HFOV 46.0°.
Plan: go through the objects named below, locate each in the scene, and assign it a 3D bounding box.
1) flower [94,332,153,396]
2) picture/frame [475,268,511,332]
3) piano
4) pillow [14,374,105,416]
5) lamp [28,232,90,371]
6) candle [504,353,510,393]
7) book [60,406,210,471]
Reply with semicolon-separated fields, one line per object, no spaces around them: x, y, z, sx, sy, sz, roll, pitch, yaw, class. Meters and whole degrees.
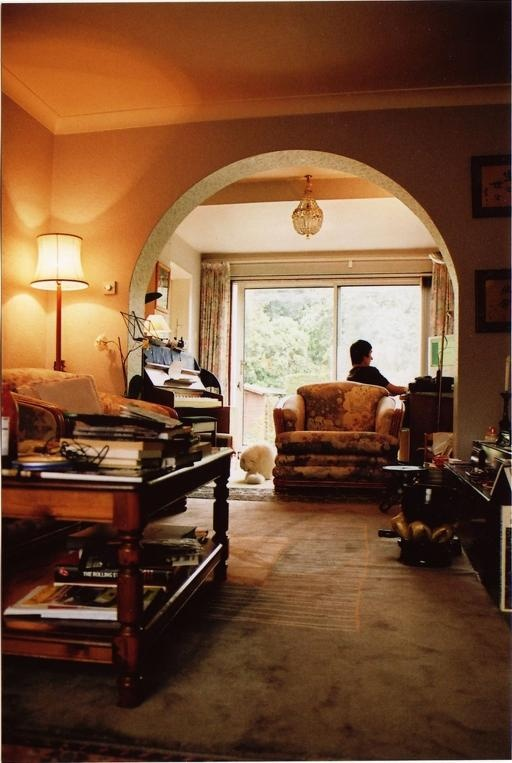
-0.835;-0.110;3.716;0.396;0.495;0.154;-1;-1;-7;flower
1.326;-0.456;3.388;0.176;0.365;0.053;0;-2;11;picture/frame
-0.430;0.067;3.457;0.237;0.460;0.605;-1;1;13;piano
-0.716;0.047;2.281;0.223;0.102;0.277;15;10;-10;pillow
-1.163;-0.484;3.572;0.309;0.834;0.449;2;-2;-18;lamp
1.342;-0.047;3.226;0.020;0.201;0.282;0;-2;19;candle
-0.329;0.107;1.414;0.234;0.079;0.182;3;3;14;book
